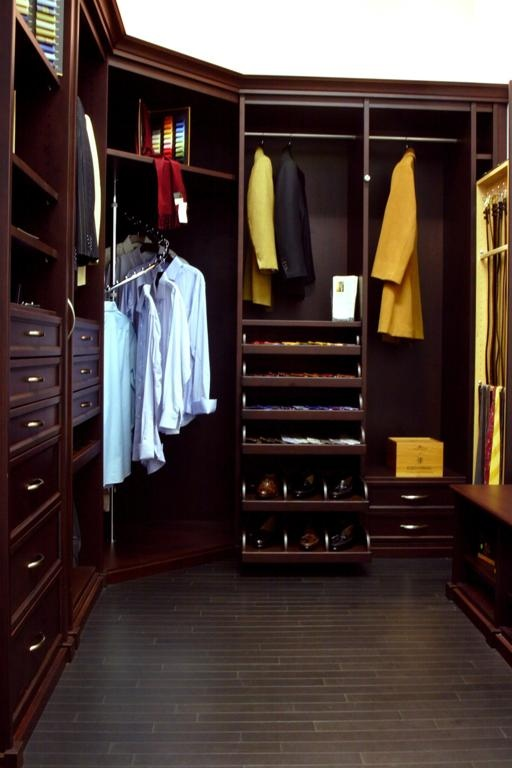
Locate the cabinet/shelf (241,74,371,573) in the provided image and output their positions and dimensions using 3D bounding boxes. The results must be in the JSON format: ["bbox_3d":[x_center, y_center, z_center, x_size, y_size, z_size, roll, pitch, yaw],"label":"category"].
[{"bbox_3d":[0.253,-0.275,2.901,0.693,2.312,0.734,1,1,3],"label":"cabinet/shelf"}]

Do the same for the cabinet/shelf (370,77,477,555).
[{"bbox_3d":[0.887,-0.291,3.086,0.579,1.601,0.559,1,1,10],"label":"cabinet/shelf"}]

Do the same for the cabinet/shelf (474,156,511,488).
[{"bbox_3d":[1.109,-0.269,2.736,0.148,1.186,0.367,1,1,23],"label":"cabinet/shelf"}]

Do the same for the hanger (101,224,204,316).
[{"bbox_3d":[-0.565,-0.580,2.838,0.333,0.353,0.271,0,1,-14],"label":"hanger"}]

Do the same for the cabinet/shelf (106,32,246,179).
[{"bbox_3d":[-0.397,-1.295,2.934,0.707,0.346,0.628,0,2,-22],"label":"cabinet/shelf"}]
